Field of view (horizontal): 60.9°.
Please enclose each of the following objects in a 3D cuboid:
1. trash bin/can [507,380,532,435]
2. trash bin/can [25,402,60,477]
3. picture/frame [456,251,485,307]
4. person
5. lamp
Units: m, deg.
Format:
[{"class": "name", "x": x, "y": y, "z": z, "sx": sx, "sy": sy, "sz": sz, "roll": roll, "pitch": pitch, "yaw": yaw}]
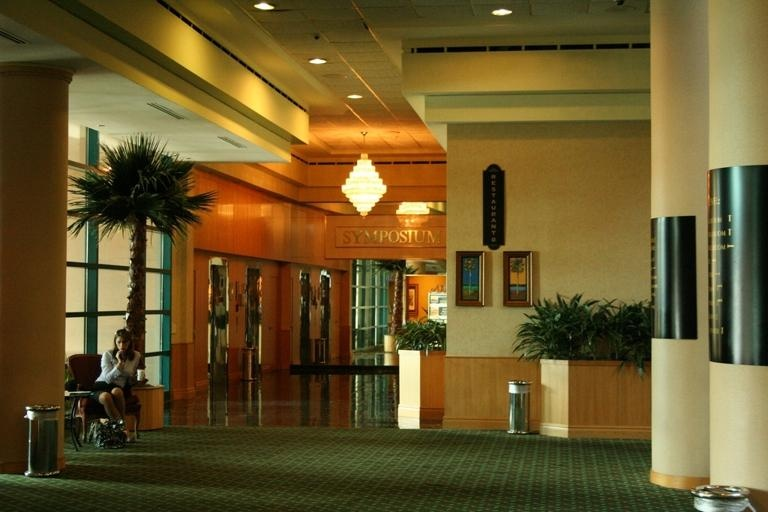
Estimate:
[{"class": "trash bin/can", "x": 2.119, "y": 2.363, "z": 10.225, "sx": 0.329, "sy": 0.819, "sz": 0.626, "roll": 0, "pitch": -5, "yaw": 10}, {"class": "trash bin/can", "x": -3.876, "y": 2.117, "z": 7.446, "sx": 0.340, "sy": 0.801, "sz": 0.341, "roll": 2, "pitch": -5, "yaw": -21}, {"class": "picture/frame", "x": 1.451, "y": 0.377, "z": 11.067, "sx": 0.463, "sy": 0.916, "sz": 0.132, "roll": -1, "pitch": -5, "yaw": 17}, {"class": "person", "x": -3.911, "y": 1.878, "z": 9.571, "sx": 0.621, "sy": 1.586, "sz": 1.068, "roll": 2, "pitch": -5, "yaw": -21}, {"class": "lamp", "x": -0.494, "y": -2.031, "z": 16.367, "sx": 1.235, "sy": 1.878, "sz": 1.162, "roll": -3, "pitch": 9, "yaw": -14}]
